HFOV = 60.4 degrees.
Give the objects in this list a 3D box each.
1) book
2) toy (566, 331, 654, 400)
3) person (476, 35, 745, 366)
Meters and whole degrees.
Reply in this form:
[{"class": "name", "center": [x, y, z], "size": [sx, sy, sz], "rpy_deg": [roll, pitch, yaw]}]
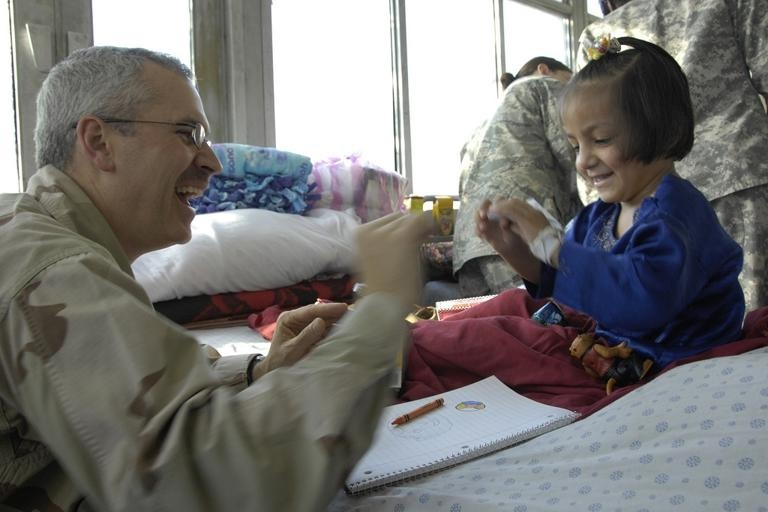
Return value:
[{"class": "book", "center": [0.146, 0.361, 1.327], "size": [0.260, 0.042, 0.264], "rpy_deg": [-20, 9, -3]}, {"class": "toy", "center": [0.529, 0.239, 1.569], "size": [0.158, 0.116, 0.171], "rpy_deg": [-13, 14, -35]}, {"class": "person", "center": [0.568, -0.163, 1.615], "size": [0.514, 0.810, 0.448], "rpy_deg": [6, 16, 42]}]
